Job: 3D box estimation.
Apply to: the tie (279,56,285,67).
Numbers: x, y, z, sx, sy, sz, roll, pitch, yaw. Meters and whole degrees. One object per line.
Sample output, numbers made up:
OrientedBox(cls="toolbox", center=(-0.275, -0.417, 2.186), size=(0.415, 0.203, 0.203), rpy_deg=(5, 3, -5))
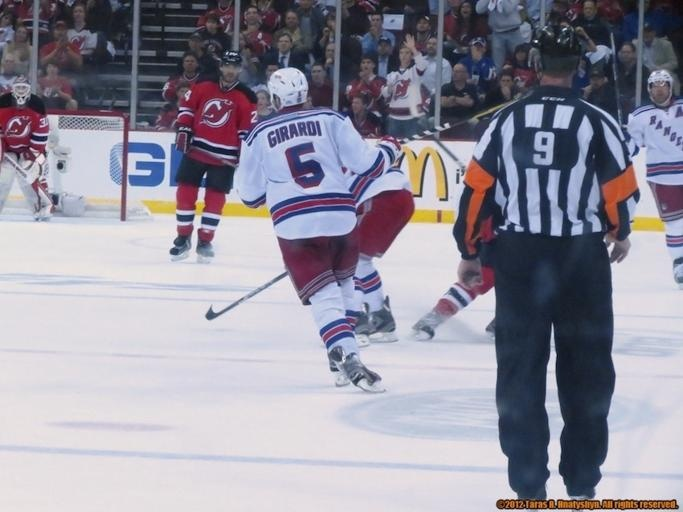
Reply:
OrientedBox(cls="tie", center=(-0.634, -2.045, 11.824), size=(0.077, 0.104, 0.026), rpy_deg=(-6, -6, -4))

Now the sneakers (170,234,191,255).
OrientedBox(cls="sneakers", center=(-1.243, -0.082, 8.598), size=(0.160, 0.157, 0.196), rpy_deg=(-2, 13, -12))

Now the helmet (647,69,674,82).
OrientedBox(cls="helmet", center=(2.323, -1.305, 8.191), size=(0.169, 0.089, 0.189), rpy_deg=(1, 13, 2))

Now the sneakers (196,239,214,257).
OrientedBox(cls="sneakers", center=(-1.054, -0.061, 8.644), size=(0.131, 0.138, 0.144), rpy_deg=(0, 13, -6))

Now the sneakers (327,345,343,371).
OrientedBox(cls="sneakers", center=(-0.037, 0.468, 5.115), size=(0.039, 0.111, 0.080), rpy_deg=(1, -1, -23))

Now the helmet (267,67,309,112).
OrientedBox(cls="helmet", center=(-0.266, -0.809, 5.433), size=(0.177, 0.189, 0.212), rpy_deg=(-12, 24, -16))

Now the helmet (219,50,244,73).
OrientedBox(cls="helmet", center=(-0.859, -1.500, 8.665), size=(0.158, 0.108, 0.211), rpy_deg=(6, 9, -15))

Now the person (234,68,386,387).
OrientedBox(cls="person", center=(-0.008, -0.141, 5.340), size=(0.702, 1.448, 0.874), rpy_deg=(-9, 16, -38))

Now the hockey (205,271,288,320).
OrientedBox(cls="hockey", center=(-0.604, 0.257, 7.018), size=(0.514, 0.127, 0.024), rpy_deg=(-28, 25, -1))

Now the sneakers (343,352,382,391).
OrientedBox(cls="sneakers", center=(0.097, 0.535, 5.098), size=(0.203, 0.182, 0.154), rpy_deg=(-2, 13, -12))

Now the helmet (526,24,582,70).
OrientedBox(cls="helmet", center=(0.807, -0.791, 4.242), size=(0.173, 0.161, 0.190), rpy_deg=(3, 29, 5))

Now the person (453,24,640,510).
OrientedBox(cls="person", center=(0.729, 0.016, 4.143), size=(0.657, 1.695, 0.578), rpy_deg=(4, 13, 16))
